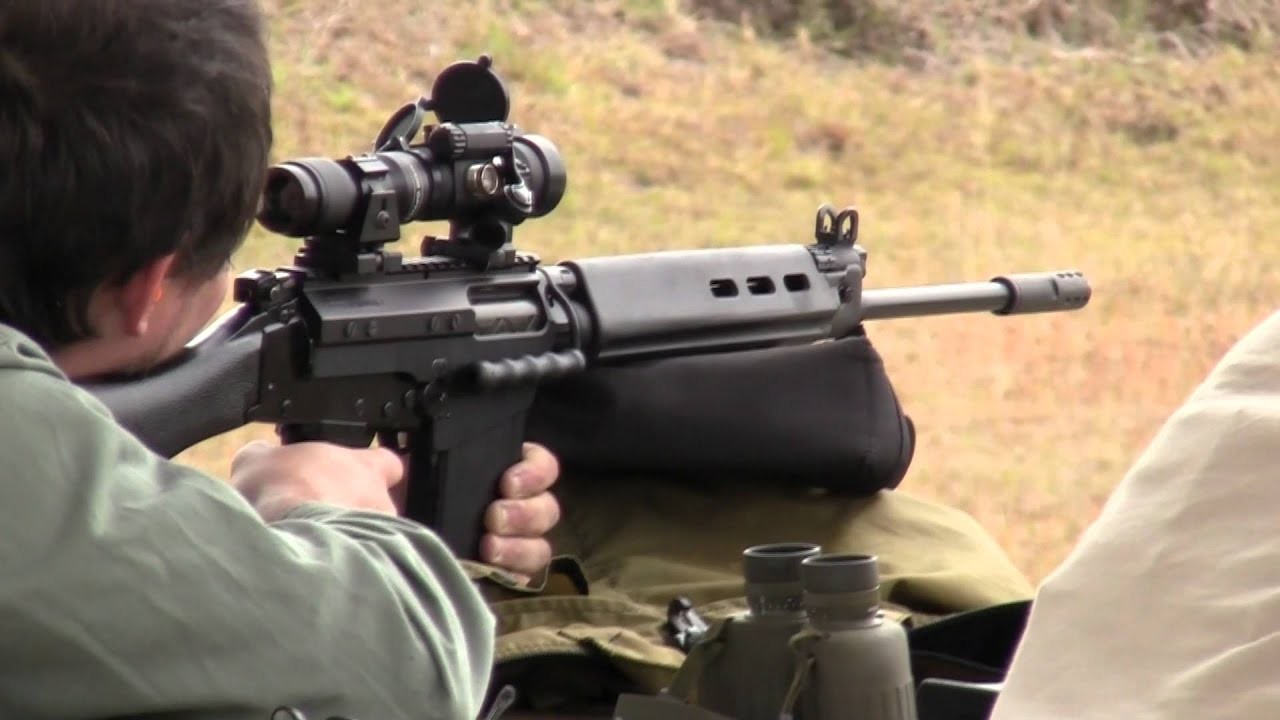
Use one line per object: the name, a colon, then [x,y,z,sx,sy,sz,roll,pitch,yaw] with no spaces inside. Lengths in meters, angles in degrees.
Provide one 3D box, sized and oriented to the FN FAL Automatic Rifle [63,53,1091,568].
FN FAL Automatic Rifle: [-0.064,-0.048,2.481,1.691,0.598,0.267,-3,8,-31]
